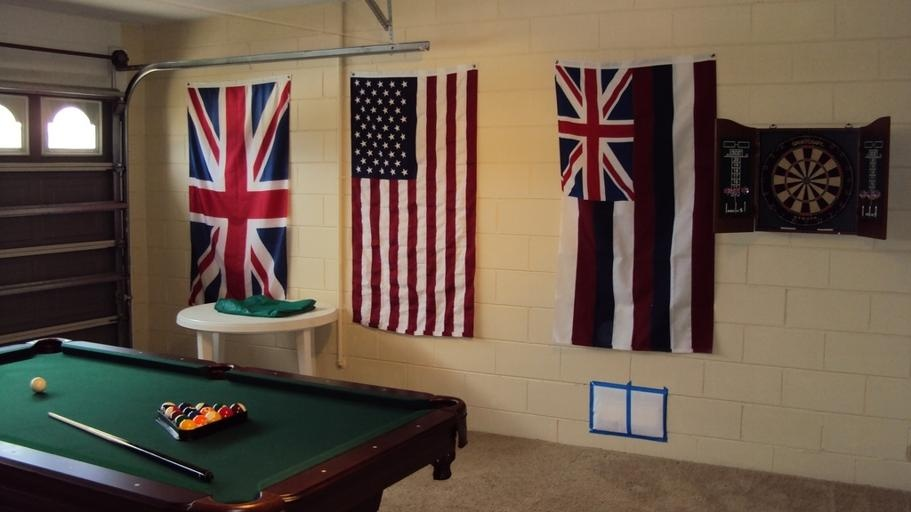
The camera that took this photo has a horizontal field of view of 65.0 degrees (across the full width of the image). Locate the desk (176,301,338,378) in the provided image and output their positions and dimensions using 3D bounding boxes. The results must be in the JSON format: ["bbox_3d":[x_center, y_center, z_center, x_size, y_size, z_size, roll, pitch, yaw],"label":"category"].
[{"bbox_3d":[-2.082,0.730,7.243,2.323,0.901,1.018,-3,-4,20],"label":"desk"}]

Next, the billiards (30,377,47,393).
[{"bbox_3d":[-3.251,1.009,5.583,0.088,0.072,0.074,35,12,11],"label":"billiards"}]

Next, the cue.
[{"bbox_3d":[-2.242,1.334,4.986,1.224,0.043,0.046,17,-23,24],"label":"cue"}]
